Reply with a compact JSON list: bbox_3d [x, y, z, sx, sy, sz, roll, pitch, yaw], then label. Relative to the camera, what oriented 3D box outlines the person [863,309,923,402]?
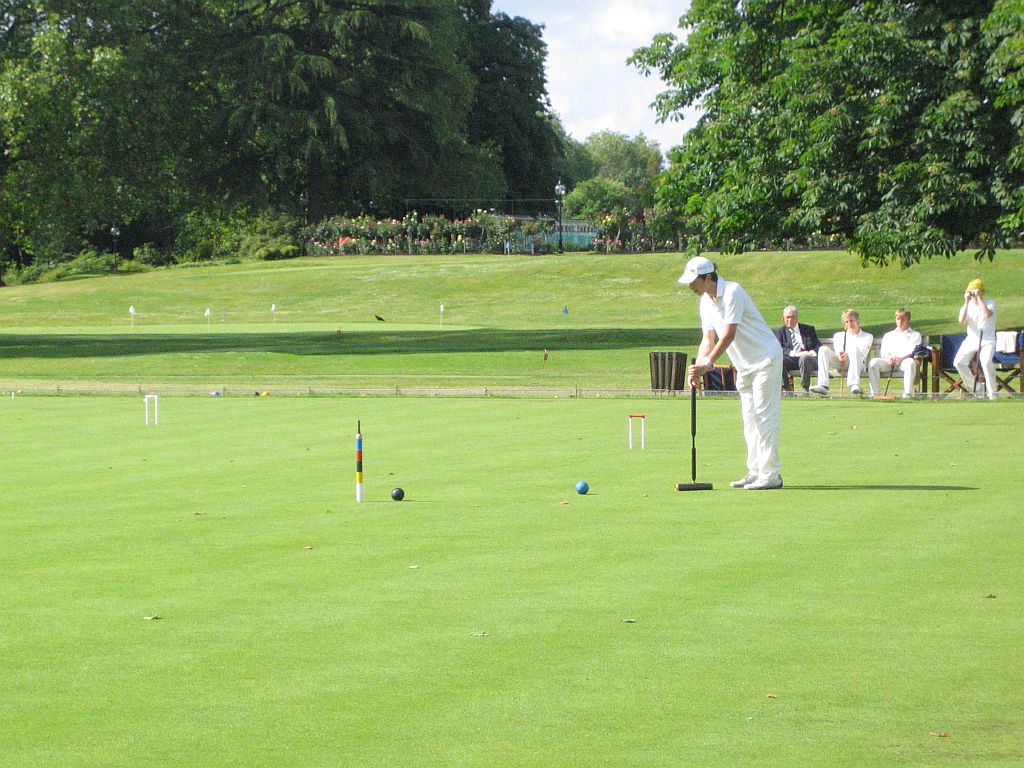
[{"bbox_3d":[8.288,-0.614,46.723,0.989,1.854,1.238,1,2,21],"label":"person"}]

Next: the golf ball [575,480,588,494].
[{"bbox_3d":[1.229,1.754,36.985,0.201,0.199,0.229,24,42,18],"label":"golf ball"}]

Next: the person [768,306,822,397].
[{"bbox_3d":[6.246,-0.648,47.440,1.073,1.999,0.952,-2,9,-11],"label":"person"}]

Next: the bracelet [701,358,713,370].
[{"bbox_3d":[3.358,-0.342,37.387,0.111,0.154,0.168,10,22,13],"label":"bracelet"}]

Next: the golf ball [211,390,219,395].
[{"bbox_3d":[-6.445,0.202,47.657,0.129,0.080,0.129,-2,0,0],"label":"golf ball"}]

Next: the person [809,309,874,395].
[{"bbox_3d":[7.249,-0.631,47.391,1.164,2.067,1.051,2,8,5],"label":"person"}]
